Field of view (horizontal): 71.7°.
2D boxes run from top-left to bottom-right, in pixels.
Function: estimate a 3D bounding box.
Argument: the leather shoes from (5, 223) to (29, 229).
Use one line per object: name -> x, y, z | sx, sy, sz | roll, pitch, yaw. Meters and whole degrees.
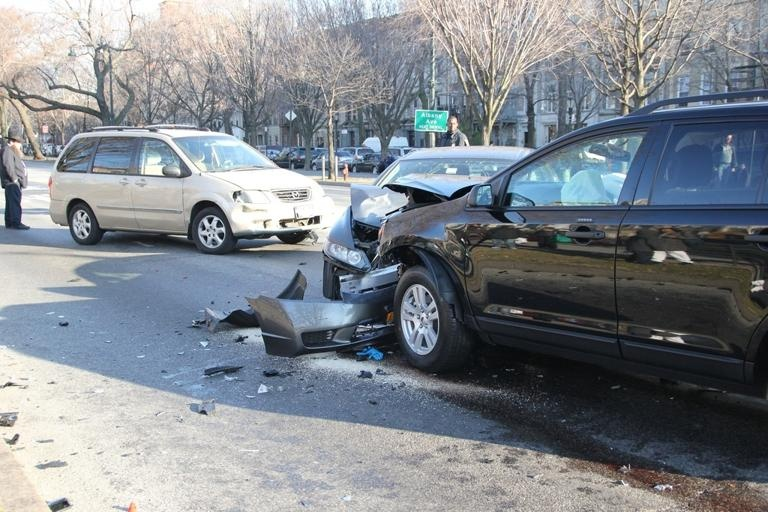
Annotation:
leather shoes -> -10.048, -0.799, 14.501 | 0.684, 0.206, 0.198 | -1, 13, -15
